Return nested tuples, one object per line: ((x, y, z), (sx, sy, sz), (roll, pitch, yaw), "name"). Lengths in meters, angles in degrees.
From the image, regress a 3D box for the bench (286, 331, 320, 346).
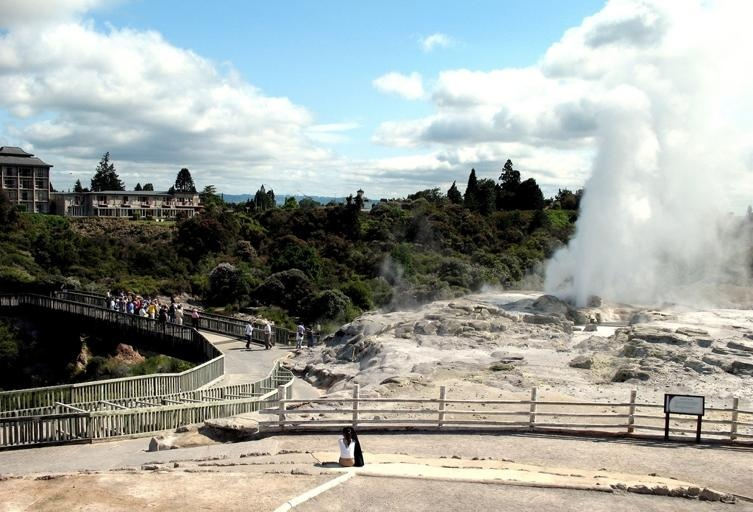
((-5.786, 6.512, 63.036), (1.355, 0.643, 1.719), (-1, 2, 6), "bench")

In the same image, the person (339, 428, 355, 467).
((-1.415, 8.760, 37.318), (0.763, 1.771, 0.357), (3, 0, 10), "person")
